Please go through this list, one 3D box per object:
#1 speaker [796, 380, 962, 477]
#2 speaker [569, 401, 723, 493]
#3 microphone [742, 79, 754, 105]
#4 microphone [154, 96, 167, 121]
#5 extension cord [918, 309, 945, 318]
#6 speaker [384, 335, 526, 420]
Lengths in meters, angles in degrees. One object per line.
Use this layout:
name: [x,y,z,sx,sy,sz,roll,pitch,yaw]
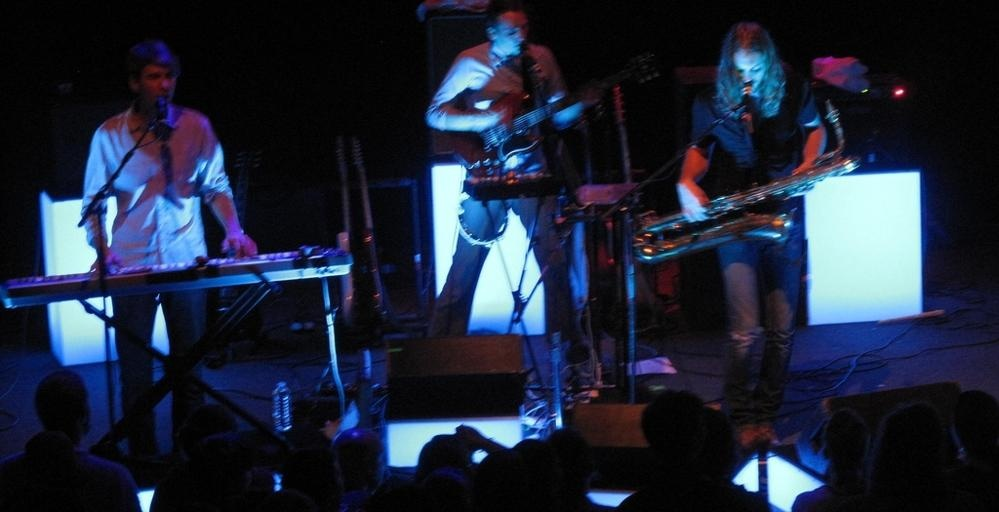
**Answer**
speaker: [2.995,1.339,8.121,1.088,0.514,0.932,-2,9,-20]
speaker: [1.332,1.624,8.003,0.706,0.620,1.181,20,-19,-33]
microphone: [2.062,-1.348,8.397,0.083,0.231,0.235,-2,-6,14]
microphone: [-2.850,-1.229,8.523,0.121,0.218,0.338,1,-5,-19]
extension cord: [4.310,0.580,10.032,0.407,0.089,0.104,3,-6,-34]
speaker: [-0.084,1.076,8.761,1.594,0.740,0.936,-6,-6,38]
